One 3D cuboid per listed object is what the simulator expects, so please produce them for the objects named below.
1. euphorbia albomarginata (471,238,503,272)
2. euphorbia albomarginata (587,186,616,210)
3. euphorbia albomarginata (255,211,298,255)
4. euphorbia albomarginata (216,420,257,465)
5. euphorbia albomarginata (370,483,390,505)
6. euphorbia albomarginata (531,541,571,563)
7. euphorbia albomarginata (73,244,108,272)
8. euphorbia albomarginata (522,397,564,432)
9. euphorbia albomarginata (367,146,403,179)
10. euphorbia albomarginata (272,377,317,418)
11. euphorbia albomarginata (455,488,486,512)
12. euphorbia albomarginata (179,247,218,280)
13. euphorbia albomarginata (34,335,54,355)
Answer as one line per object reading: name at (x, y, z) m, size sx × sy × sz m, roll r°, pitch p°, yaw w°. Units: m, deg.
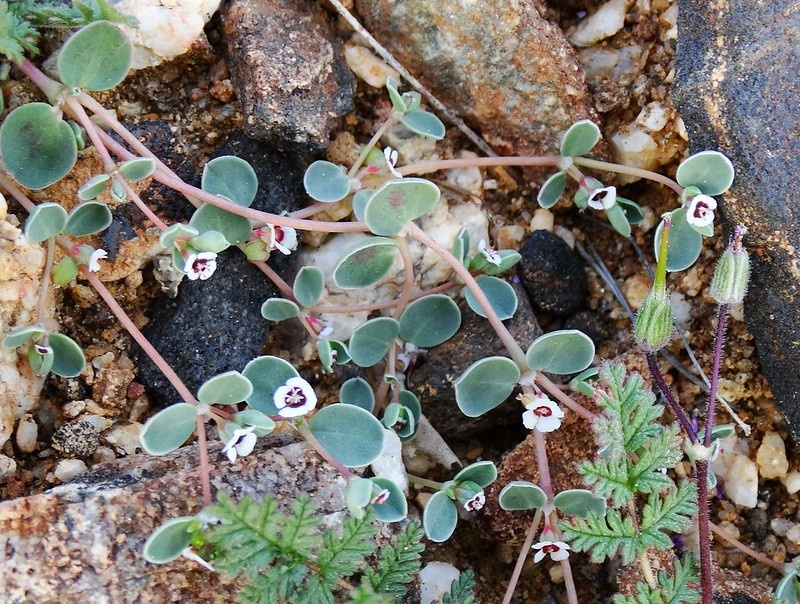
euphorbia albomarginata at (0.343, -0.181, 3.142) m, size 0.104 × 0.050 × 0.102 m, roll -27°, pitch 99°, yaw -39°
euphorbia albomarginata at (0.770, -0.384, 3.122) m, size 0.106 × 0.094 × 0.080 m, roll -5°, pitch 83°, yaw -3°
euphorbia albomarginata at (-0.441, -0.229, 2.999) m, size 0.114 × 0.041 × 0.112 m, roll 16°, pitch 57°, yaw -26°
euphorbia albomarginata at (-0.510, 0.432, 2.633) m, size 0.111 × 0.064 × 0.119 m, roll -21°, pitch 85°, yaw -5°
euphorbia albomarginata at (-0.065, 0.616, 2.663) m, size 0.054 × 0.082 × 0.058 m, roll 21°, pitch 96°, yaw -18°
euphorbia albomarginata at (0.527, 0.866, 2.891) m, size 0.118 × 0.116 × 0.061 m, roll 15°, pitch 45°, yaw -12°
euphorbia albomarginata at (-1.073, -0.155, 2.912) m, size 0.101 × 0.096 × 0.102 m, roll 21°, pitch 96°, yaw 0°
euphorbia albomarginata at (0.492, 0.391, 2.887) m, size 0.124 × 0.131 × 0.125 m, roll 1°, pitch 83°, yaw -2°
euphorbia albomarginata at (-0.054, -0.508, 3.069) m, size 0.122 × 0.058 × 0.113 m, roll -2°, pitch 45°, yaw -10°
euphorbia albomarginata at (-0.353, 0.323, 2.740) m, size 0.132 × 0.099 × 0.122 m, roll -36°, pitch 86°, yaw -6°
euphorbia albomarginata at (0.253, 0.700, 2.931) m, size 0.090 × 0.079 × 0.069 m, roll 3°, pitch 83°, yaw -2°
euphorbia albomarginata at (-0.674, -0.123, 2.777) m, size 0.106 × 0.076 × 0.083 m, roll 0°, pitch 83°, yaw -2°
euphorbia albomarginata at (-1.223, 0.155, 2.842) m, size 0.059 × 0.069 × 0.067 m, roll -15°, pitch 84°, yaw -4°
